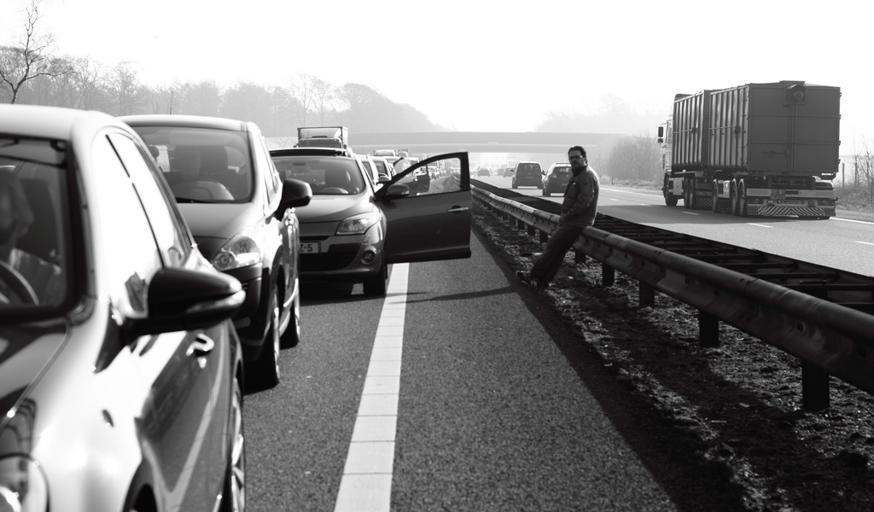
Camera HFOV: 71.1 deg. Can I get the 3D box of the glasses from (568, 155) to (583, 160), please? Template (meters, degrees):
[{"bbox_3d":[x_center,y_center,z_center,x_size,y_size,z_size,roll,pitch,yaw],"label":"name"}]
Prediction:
[{"bbox_3d":[2.577,-1.820,11.282,0.260,0.078,0.097,0,7,2],"label":"glasses"}]

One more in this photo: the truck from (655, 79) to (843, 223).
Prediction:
[{"bbox_3d":[16.123,-5.742,33.095,4.666,5.966,12.856,0,9,2],"label":"truck"}]

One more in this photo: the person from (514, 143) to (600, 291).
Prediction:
[{"bbox_3d":[2.347,-0.763,11.387,1.013,2.591,1.514,5,7,44],"label":"person"}]
